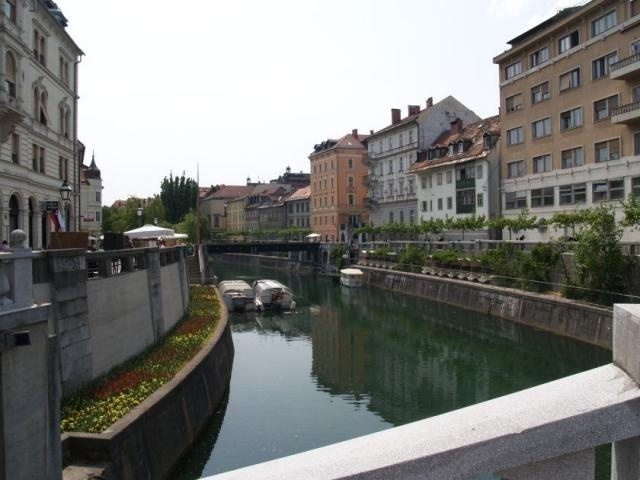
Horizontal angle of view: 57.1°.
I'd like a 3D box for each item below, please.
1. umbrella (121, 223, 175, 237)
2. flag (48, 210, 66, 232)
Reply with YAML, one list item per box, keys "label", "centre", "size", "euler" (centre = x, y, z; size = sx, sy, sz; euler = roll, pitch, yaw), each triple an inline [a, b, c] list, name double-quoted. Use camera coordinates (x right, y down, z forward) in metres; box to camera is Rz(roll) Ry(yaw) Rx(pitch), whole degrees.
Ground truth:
- label: "umbrella"
  centre: [-12.972, -0.784, 43.943]
  size: [2.017, 0.802, 2.119]
  euler: [-1, -1, 14]
- label: "flag"
  centre: [-10.457, -0.749, 23.426]
  size: [0.945, 1.205, 0.224]
  euler: [19, 26, 35]
